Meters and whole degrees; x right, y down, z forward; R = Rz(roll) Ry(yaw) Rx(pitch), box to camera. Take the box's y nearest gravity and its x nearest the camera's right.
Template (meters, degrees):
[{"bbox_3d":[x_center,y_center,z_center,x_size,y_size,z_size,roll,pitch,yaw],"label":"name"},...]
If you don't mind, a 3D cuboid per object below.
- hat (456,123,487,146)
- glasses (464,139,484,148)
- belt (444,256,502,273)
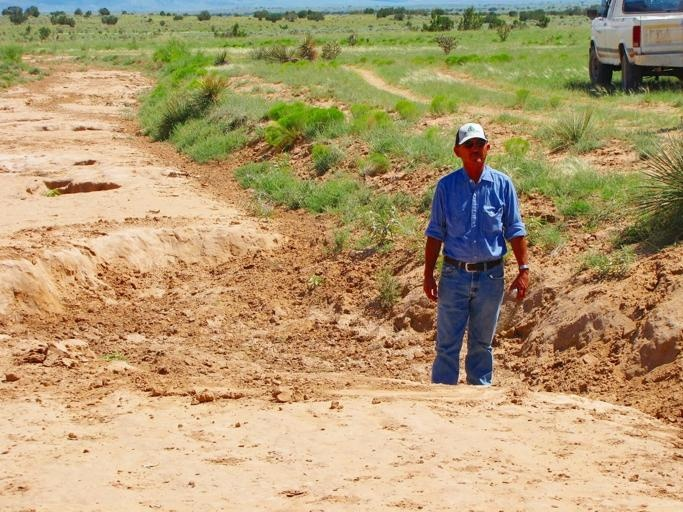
[{"bbox_3d":[1.398,-1.371,10.241,0.253,0.164,0.316,-4,-1,-5],"label":"hat"},{"bbox_3d":[1.444,-1.231,10.094,0.153,0.102,0.238,1,-4,7],"label":"glasses"},{"bbox_3d":[1.452,0.080,10.291,0.642,0.157,0.198,4,13,7],"label":"belt"}]
